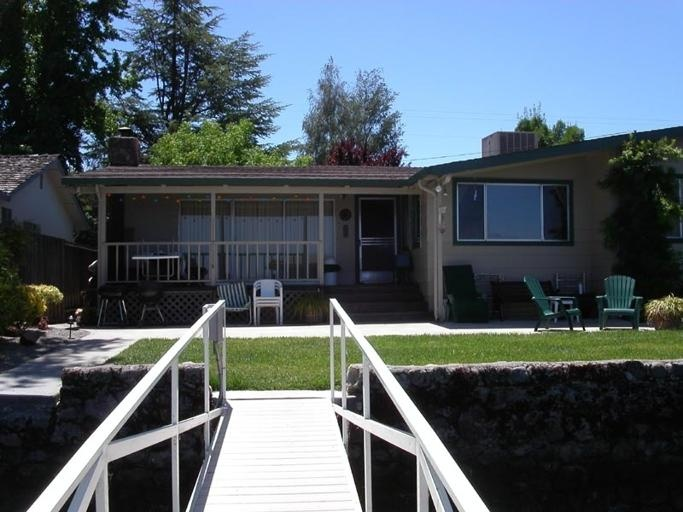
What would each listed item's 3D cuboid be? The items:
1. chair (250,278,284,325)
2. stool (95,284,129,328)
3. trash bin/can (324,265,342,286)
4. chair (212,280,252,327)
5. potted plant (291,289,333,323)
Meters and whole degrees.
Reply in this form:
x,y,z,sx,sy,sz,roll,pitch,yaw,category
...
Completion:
x,y,z,sx,sy,sz,roll,pitch,yaw,category
-1.670,0.900,15.445,0.644,0.751,0.877,0,23,1,chair
-5.294,1.162,15.263,0.783,1.334,0.819,-1,6,-13,stool
-0.240,0.505,18.093,0.462,0.605,0.464,-2,0,0,trash bin/can
-2.383,1.082,15.262,0.808,0.997,1.055,0,-10,-11,chair
-0.749,1.201,15.767,0.846,0.809,0.866,-2,0,-5,potted plant
